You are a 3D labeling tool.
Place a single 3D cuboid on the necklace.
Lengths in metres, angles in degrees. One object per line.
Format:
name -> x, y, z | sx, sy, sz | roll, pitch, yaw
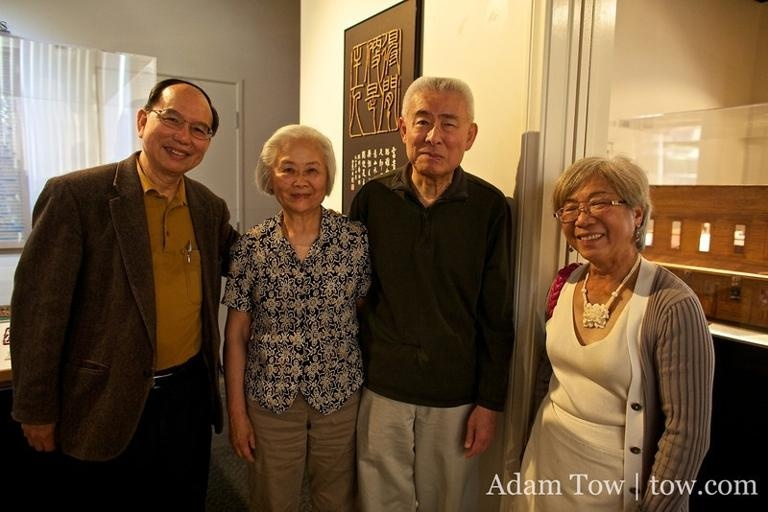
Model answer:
necklace -> 0.972, 0.141, 2.358 | 0.100, 0.336, 0.189 | 25, -1, -43
